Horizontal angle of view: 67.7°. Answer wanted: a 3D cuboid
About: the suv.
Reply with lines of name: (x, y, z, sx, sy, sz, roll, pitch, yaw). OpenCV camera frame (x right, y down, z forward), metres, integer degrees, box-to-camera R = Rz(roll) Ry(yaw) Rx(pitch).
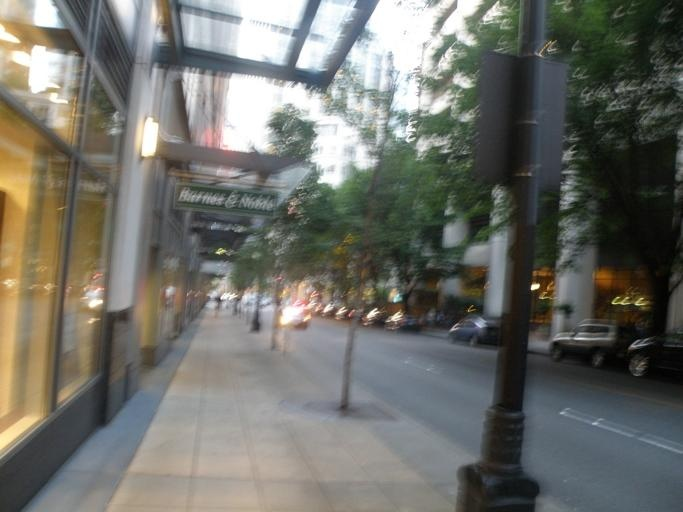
suv: (10.808, 3.797, 22.164, 1.515, 1.522, 3.216, 10, -10, -31)

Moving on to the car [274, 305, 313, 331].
car: (-3.310, 3.956, 36.119, 1.898, 0.661, 2.450, 6, 7, 20)

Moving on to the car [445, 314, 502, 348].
car: (7.642, 4.201, 28.877, 0.785, 1.624, 3.343, 6, -5, -30)
